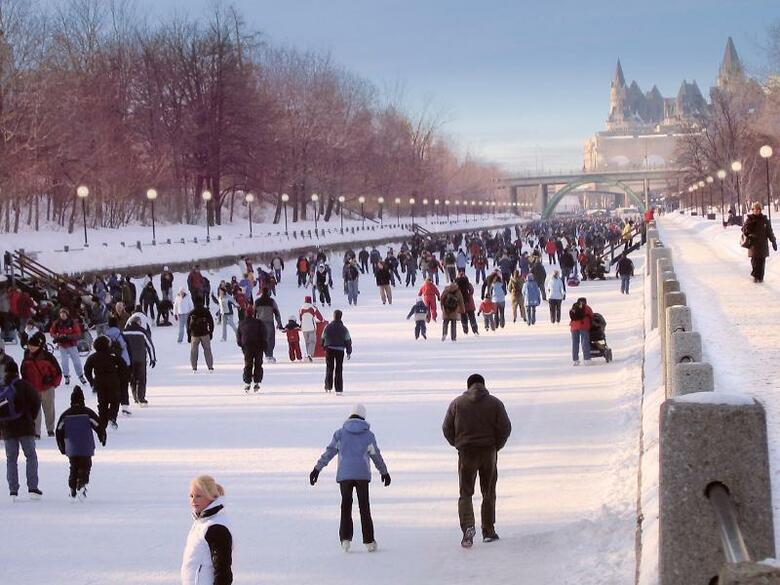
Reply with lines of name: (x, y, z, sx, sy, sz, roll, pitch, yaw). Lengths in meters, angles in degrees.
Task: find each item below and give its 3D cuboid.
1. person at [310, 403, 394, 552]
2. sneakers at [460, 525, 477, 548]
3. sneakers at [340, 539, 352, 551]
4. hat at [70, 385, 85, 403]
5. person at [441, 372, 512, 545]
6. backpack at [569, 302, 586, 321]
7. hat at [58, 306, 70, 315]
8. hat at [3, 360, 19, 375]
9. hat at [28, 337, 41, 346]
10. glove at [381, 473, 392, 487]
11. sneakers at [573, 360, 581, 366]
person: (-0.484, 2.492, 14.968, 0.955, 1.909, 0.784, -3, 2, -2)
sneakers: (1.034, 3.256, 14.561, 0.112, 0.353, 0.139, 9, 7, -9)
sneakers: (-0.569, 3.374, 14.689, 0.112, 0.146, 0.119, -2, 8, -7)
hat: (-4.582, 1.535, 16.468, 0.210, 0.290, 0.242, 6, -12, -33)
person: (1.156, 2.237, 14.687, 0.850, 2.245, 0.397, -2, 2, 2)
backpack: (3.942, 0.412, 23.367, 0.139, 0.433, 0.253, 14, -16, -42)
hat: (-6.632, 0.410, 22.641, 0.184, 0.126, 0.283, 3, 5, -6)
hat: (-5.712, 1.159, 16.813, 0.149, 0.238, 0.215, 1, 2, -5)
hat: (-5.819, 0.822, 18.267, 0.156, 0.184, 0.137, -12, 14, -19)
glove: (-0.042, 2.531, 14.955, 0.139, 0.205, 0.206, 2, 18, -1)
sneakers: (4.023, 1.538, 23.866, 0.108, 0.107, 0.102, -4, 10, -12)
